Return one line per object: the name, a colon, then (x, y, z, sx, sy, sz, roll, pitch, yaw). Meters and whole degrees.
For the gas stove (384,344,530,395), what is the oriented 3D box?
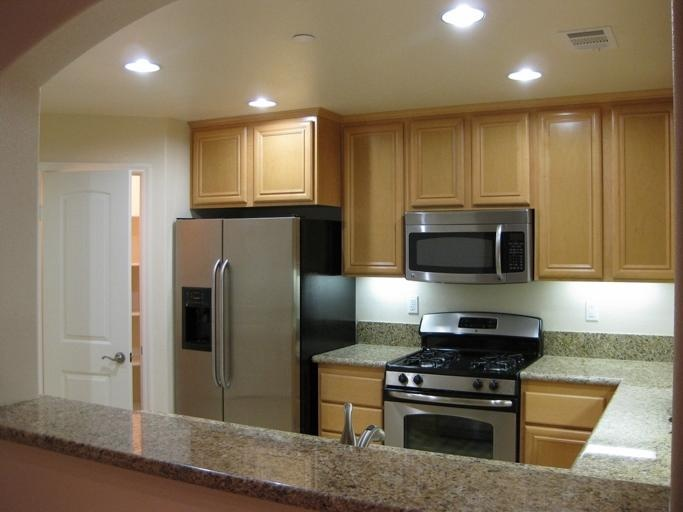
gas stove: (0.792, 0.698, 3.641, 0.902, 0.159, 0.623, 1, 15, 19)

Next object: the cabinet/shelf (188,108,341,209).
cabinet/shelf: (-0.590, -0.687, 4.225, 1.129, 0.649, 0.403, 1, 2, 25)

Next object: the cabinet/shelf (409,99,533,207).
cabinet/shelf: (0.922, -0.670, 3.913, 0.839, 0.673, 0.417, 0, 13, 15)

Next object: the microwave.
microwave: (0.847, -0.055, 3.662, 0.776, 0.497, 0.501, 0, -2, 29)

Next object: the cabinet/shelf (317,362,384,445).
cabinet/shelf: (0.049, 0.979, 3.696, 0.488, 0.521, 0.177, 2, 16, 24)

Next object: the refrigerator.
refrigerator: (-0.610, 0.462, 3.892, 1.281, 1.480, 0.795, -3, 14, 5)
